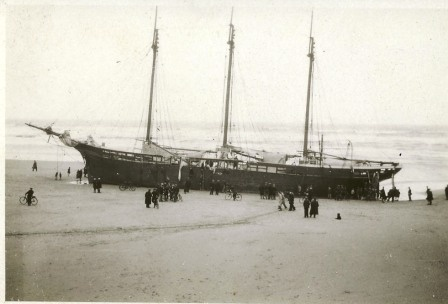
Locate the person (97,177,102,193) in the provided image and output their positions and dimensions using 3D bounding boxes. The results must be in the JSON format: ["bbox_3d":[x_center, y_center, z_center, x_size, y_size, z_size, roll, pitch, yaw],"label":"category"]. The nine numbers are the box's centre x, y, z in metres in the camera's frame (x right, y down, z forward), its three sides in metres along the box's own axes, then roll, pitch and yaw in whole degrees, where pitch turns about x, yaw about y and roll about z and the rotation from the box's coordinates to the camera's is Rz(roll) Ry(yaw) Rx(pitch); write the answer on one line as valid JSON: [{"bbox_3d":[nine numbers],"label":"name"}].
[{"bbox_3d":[-7.822,2.105,30.307,0.250,0.904,1.309,-2,11,-16],"label":"person"}]

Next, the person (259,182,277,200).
[{"bbox_3d":[2.901,2.643,32.437,0.453,1.118,0.864,-8,11,-42],"label":"person"}]

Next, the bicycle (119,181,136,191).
[{"bbox_3d":[-6.478,2.335,32.479,1.001,0.647,0.538,22,-13,3],"label":"bicycle"}]

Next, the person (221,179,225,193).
[{"bbox_3d":[-0.090,2.473,34.503,0.398,0.630,0.870,1,10,0],"label":"person"}]

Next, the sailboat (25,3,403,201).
[{"bbox_3d":[-0.933,-3.121,35.589,25.773,12.377,3.742,2,7,-4],"label":"sailboat"}]

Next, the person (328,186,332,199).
[{"bbox_3d":[7.493,2.860,34.349,0.277,0.786,0.554,3,10,10],"label":"person"}]

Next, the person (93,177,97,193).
[{"bbox_3d":[-8.003,2.121,30.060,0.234,0.910,1.077,-2,10,-15],"label":"person"}]

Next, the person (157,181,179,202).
[{"bbox_3d":[-3.229,2.351,28.737,1.046,0.589,1.089,1,5,1],"label":"person"}]

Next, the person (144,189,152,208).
[{"bbox_3d":[-4.129,2.529,26.487,0.365,0.883,1.029,-1,10,-9],"label":"person"}]

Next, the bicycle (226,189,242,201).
[{"bbox_3d":[0.509,2.739,30.722,0.972,0.617,0.501,8,5,21],"label":"bicycle"}]

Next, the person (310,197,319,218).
[{"bbox_3d":[4.795,2.986,25.915,0.418,1.079,0.592,3,10,11],"label":"person"}]

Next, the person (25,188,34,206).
[{"bbox_3d":[-10.232,2.327,25.456,0.357,0.833,0.738,-3,11,-23],"label":"person"}]

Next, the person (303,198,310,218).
[{"bbox_3d":[4.446,3.011,26.154,0.308,1.135,1.184,2,10,9],"label":"person"}]

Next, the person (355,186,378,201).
[{"bbox_3d":[10.168,2.971,34.747,1.506,1.128,0.867,-1,2,-2],"label":"person"}]

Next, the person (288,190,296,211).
[{"bbox_3d":[3.972,2.846,28.156,0.400,1.170,1.178,2,10,8],"label":"person"}]

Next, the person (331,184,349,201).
[{"bbox_3d":[8.035,2.945,34.118,1.594,0.668,1.333,5,-39,-17],"label":"person"}]

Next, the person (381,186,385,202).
[{"bbox_3d":[11.123,3.066,33.921,0.394,0.868,1.143,4,11,18],"label":"person"}]
